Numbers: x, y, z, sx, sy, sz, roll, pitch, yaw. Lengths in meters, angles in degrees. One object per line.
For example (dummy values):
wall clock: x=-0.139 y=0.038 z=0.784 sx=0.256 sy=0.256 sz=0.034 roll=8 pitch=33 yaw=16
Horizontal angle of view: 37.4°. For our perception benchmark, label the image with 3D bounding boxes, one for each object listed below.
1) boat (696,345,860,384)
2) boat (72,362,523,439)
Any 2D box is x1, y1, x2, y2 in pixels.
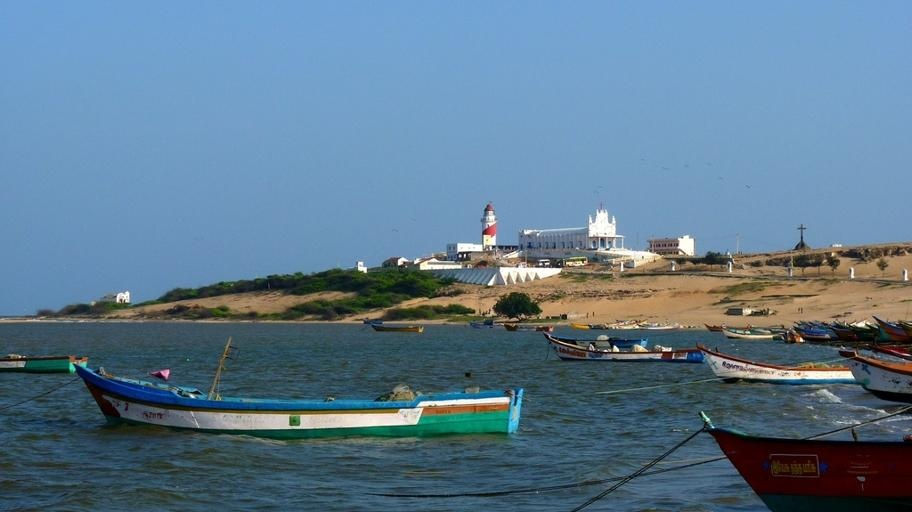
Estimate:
boat: x=31.049 y=9.916 z=121.007 sx=19.250 sy=3.435 sz=4.219 roll=3 pitch=-13 yaw=5
boat: x=-12.943 y=12.141 z=111.333 sx=31.671 sy=5.384 sz=10.405 roll=3 pitch=-2 yaw=-27
